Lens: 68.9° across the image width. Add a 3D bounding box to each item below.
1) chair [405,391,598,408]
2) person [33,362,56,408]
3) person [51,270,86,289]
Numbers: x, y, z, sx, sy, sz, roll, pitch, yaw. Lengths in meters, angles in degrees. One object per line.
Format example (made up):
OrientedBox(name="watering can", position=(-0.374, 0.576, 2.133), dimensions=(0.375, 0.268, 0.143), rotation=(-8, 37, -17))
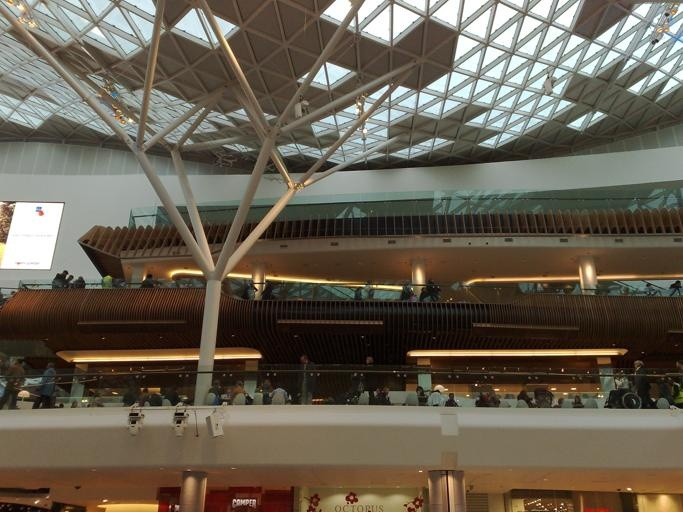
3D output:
OrientedBox(name="chair", position=(3.574, 4.402, 15.367), dimensions=(4.854, 0.479, 0.302), rotation=(0, -26, 1))
OrientedBox(name="person", position=(-8.811, 3.882, 14.931), dimensions=(0.563, 1.234, 0.385), rotation=(3, -18, -19))
OrientedBox(name="person", position=(-13.226, 1.062, 24.156), dimensions=(1.109, 1.082, 1.858), rotation=(12, -19, -43))
